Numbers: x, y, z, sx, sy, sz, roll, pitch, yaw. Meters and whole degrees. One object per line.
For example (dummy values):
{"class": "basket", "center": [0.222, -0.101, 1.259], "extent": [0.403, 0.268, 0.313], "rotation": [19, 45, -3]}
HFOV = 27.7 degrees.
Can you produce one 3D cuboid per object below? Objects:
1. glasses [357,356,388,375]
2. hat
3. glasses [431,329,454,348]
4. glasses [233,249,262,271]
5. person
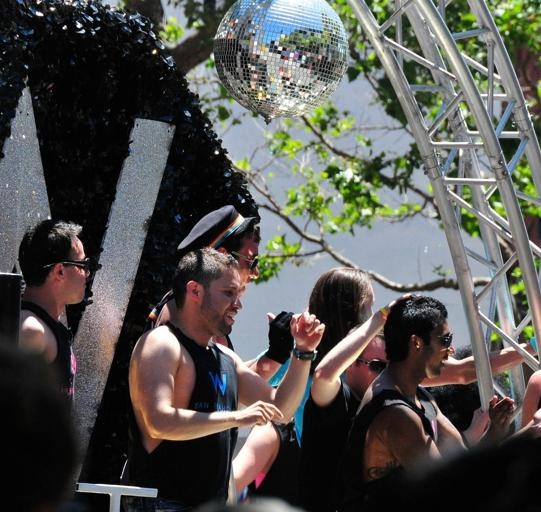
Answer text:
{"class": "glasses", "center": [0.463, 0.502, 5.047], "extent": [0.134, 0.077, 0.041], "rotation": [6, -13, 22]}
{"class": "hat", "center": [-0.279, -0.122, 5.329], "extent": [0.095, 0.291, 0.208], "rotation": [54, -8, -8]}
{"class": "glasses", "center": [0.751, 0.366, 4.760], "extent": [0.051, 0.095, 0.220], "rotation": [7, -14, 18]}
{"class": "glasses", "center": [-0.126, 0.021, 5.409], "extent": [0.098, 0.034, 0.099], "rotation": [16, -7, 9]}
{"class": "person", "center": [-0.042, 0.458, 4.687], "extent": [2.368, 0.916, 0.832], "rotation": [11, 13, -20]}
